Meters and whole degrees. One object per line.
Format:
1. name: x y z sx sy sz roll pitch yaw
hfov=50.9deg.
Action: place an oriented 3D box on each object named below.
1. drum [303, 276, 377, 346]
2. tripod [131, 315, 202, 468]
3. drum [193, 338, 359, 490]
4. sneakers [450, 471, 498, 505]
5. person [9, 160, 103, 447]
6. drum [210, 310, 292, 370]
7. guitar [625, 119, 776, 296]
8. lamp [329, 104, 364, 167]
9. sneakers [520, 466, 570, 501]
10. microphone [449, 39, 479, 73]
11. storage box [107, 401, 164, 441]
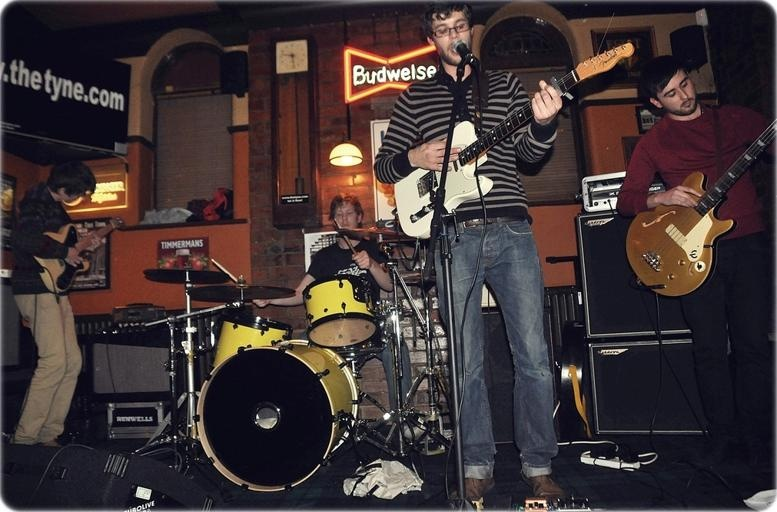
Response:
1. drum: -0.405 0.419 7.025 0.609 0.439 0.607 -4 -44 -4
2. tripod: -1.923 1.169 7.178 0.449 1.296 0.941 2 -10 -16
3. drum: -0.853 1.160 6.798 1.536 1.503 1.040 -2 1 16
4. sneakers: 0.628 1.682 5.900 0.455 0.171 0.168 -1 -12 25
5. person: -3.091 0.360 7.499 0.699 2.658 0.447 7 -12 -35
6. drum: -1.147 0.684 6.871 0.508 0.493 0.503 20 -12 -4
7. guitar: 2.459 -0.360 6.436 0.186 1.680 0.625 5 32 -45
8. lamp: -0.425 -1.245 8.175 0.340 0.683 0.421 0 -10 -2
9. sneakers: 1.141 1.679 5.933 0.156 0.173 0.421 -4 -22 -13
10. microphone: 0.559 -1.418 5.874 0.209 0.253 0.159 3 -10 -21
11. storage box: -2.435 1.615 7.783 0.531 0.371 0.299 3 -39 -24
